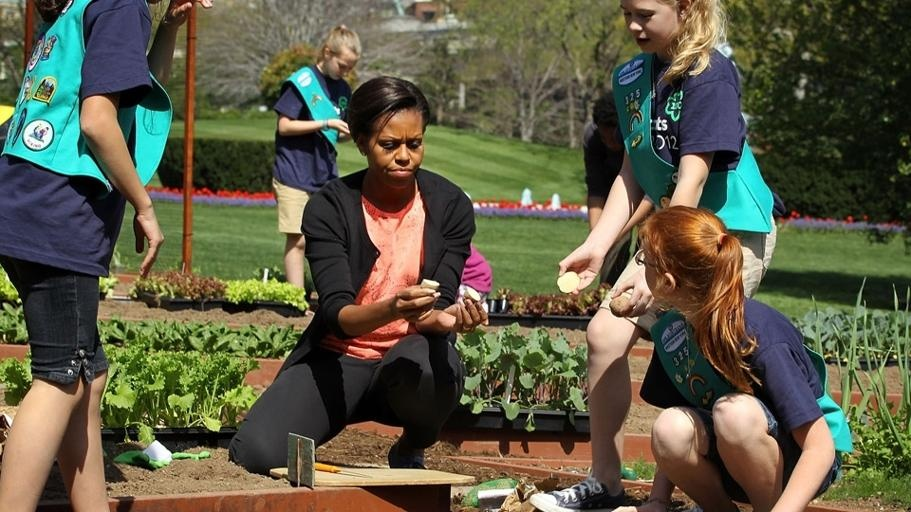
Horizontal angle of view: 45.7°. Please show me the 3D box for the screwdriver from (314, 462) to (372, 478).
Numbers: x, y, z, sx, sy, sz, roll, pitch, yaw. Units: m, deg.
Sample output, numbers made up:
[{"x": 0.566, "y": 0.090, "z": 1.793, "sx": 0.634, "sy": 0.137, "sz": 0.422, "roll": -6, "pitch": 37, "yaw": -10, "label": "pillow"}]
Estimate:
[{"x": -0.809, "y": 1.542, "z": 7.692, "sx": 0.426, "sy": 0.064, "sz": 0.065, "roll": 9, "pitch": 26, "yaw": 19, "label": "screwdriver"}]
